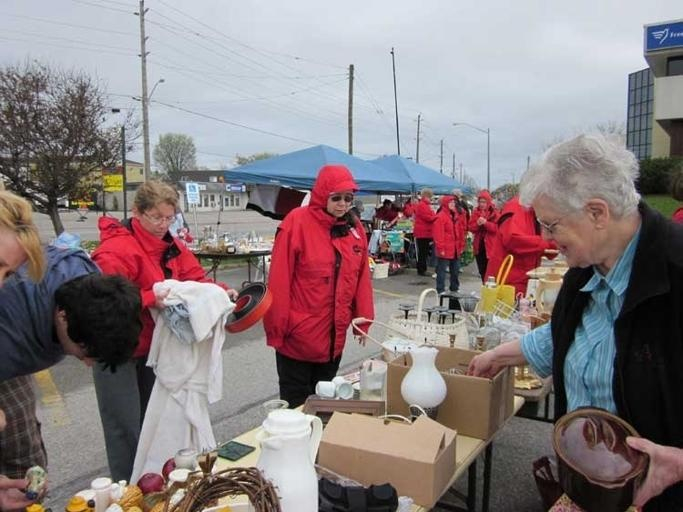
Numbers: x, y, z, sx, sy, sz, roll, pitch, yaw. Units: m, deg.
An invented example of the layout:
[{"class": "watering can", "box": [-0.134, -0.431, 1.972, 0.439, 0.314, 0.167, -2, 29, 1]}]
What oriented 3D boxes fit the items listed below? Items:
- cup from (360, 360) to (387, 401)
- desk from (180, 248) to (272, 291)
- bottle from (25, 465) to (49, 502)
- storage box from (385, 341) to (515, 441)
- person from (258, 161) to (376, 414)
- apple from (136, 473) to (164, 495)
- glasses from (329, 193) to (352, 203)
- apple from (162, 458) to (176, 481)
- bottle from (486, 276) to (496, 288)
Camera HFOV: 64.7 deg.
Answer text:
[{"class": "cup", "box": [0.170, 0.669, 2.862, 0.156, 0.239, 0.176, 1, -5, -2]}, {"class": "desk", "box": [-1.898, 0.424, 9.263, 1.340, 0.693, 1.075, -1, 19, -9]}, {"class": "bottle", "box": [-1.179, 0.889, 2.124, 0.060, 0.146, 0.101, -3, 0, 9]}, {"class": "storage box", "box": [0.538, 0.616, 2.751, 0.472, 0.268, 0.486, 1, 3, 37]}, {"class": "person", "box": [-0.148, 0.191, 3.685, 0.754, 1.615, 0.328, -1, 6, -9]}, {"class": "apple", "box": [-0.765, 0.922, 2.175, 0.081, 0.097, 0.079, 1, 20, -42]}, {"class": "glasses", "box": [0.012, -0.386, 3.594, 0.063, 0.061, 0.183, 5, 8, 44]}, {"class": "apple", "box": [-0.720, 0.896, 2.249, 0.059, 0.069, 0.065, 4, 18, 2]}, {"class": "bottle", "box": [1.141, 0.202, 4.128, 0.078, 0.092, 0.078, 3, -4, -27]}]
